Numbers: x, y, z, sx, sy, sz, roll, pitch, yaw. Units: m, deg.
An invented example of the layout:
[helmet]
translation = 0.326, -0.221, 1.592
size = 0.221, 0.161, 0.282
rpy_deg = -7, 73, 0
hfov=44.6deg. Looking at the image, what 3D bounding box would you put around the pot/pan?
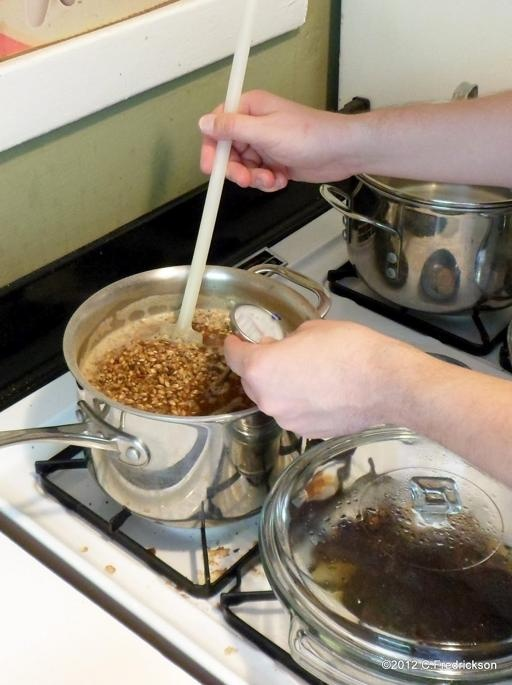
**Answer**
[pot/pan]
translation = 0.110, -0.027, 0.637
size = 0.372, 0.166, 0.653
rpy_deg = 26, 43, 25
